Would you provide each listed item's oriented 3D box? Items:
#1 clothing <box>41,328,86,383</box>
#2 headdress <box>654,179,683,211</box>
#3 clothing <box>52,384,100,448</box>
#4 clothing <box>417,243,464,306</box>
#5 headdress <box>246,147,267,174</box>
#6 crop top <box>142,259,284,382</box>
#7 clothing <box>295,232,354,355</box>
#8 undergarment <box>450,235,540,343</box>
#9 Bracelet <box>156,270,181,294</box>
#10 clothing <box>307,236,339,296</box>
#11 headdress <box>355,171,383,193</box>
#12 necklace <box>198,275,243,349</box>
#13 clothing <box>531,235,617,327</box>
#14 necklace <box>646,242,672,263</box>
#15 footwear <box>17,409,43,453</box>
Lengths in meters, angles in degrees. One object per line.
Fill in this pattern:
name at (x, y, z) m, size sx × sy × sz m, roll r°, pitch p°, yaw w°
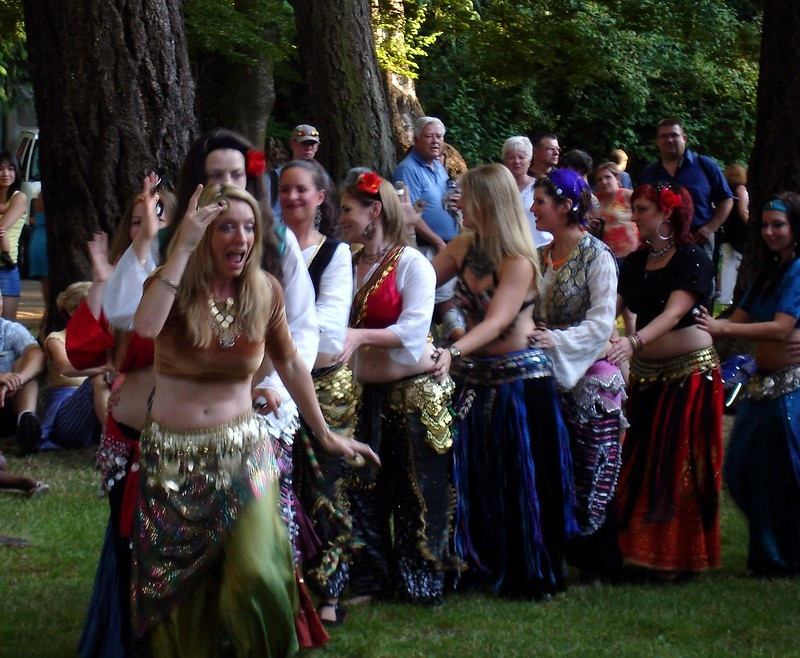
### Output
clothing at (-2.112, 0.177, 5.602) m, size 0.177 × 0.349 × 0.345 m, roll -2°, pitch 7°, yaw -13°
headdress at (1.454, -0.716, 4.879) m, size 0.126 × 0.134 × 0.058 m, roll -13°, pitch -14°, yaw -22°
clothing at (-2.449, 0.698, 6.801) m, size 0.334 × 0.692 × 0.243 m, roll 1°, pitch -6°, yaw -2°
clothing at (0.240, -0.413, 6.618) m, size 0.388 × 0.158 × 0.318 m, roll -7°, pitch -30°, yaw -18°
headdress at (-0.563, -0.657, 3.527) m, size 0.066 × 0.098 × 0.092 m, roll 2°, pitch 18°, yaw -4°
crop top at (-0.671, 0.089, 3.273) m, size 0.567 × 0.554 × 0.328 m, roll 2°, pitch 3°, yaw -24°
clothing at (-0.308, -0.107, 4.253) m, size 0.337 × 0.699 × 0.495 m, roll 2°, pitch -7°, yaw -5°
undergarment at (0.479, -0.191, 4.498) m, size 0.227 × 0.450 × 0.328 m, roll -3°, pitch 34°, yaw -40°
Bracelet at (-0.782, -0.158, 3.002) m, size 0.074 × 0.032 × 0.068 m, roll 39°, pitch -2°, yaw -34°
clothing at (-0.348, -0.276, 4.098) m, size 0.059 × 0.250 × 0.133 m, roll 22°, pitch -23°, yaw -17°
headdress at (-0.156, -0.691, 4.287) m, size 0.127 × 0.104 × 0.117 m, roll 1°, pitch 7°, yaw 0°
necklace at (-0.583, -0.036, 3.043) m, size 0.156 × 0.175 × 0.037 m, roll 9°, pitch -17°, yaw -29°
clothing at (0.910, -0.232, 4.690) m, size 0.231 × 0.463 × 0.418 m, roll -2°, pitch 4°, yaw -34°
necklace at (1.459, -0.425, 5.026) m, size 0.081 × 0.127 × 0.043 m, roll 6°, pitch 16°, yaw 16°
footwear at (-2.699, 0.755, 6.506) m, size 0.122 × 0.374 × 0.146 m, roll 1°, pitch 12°, yaw -23°
